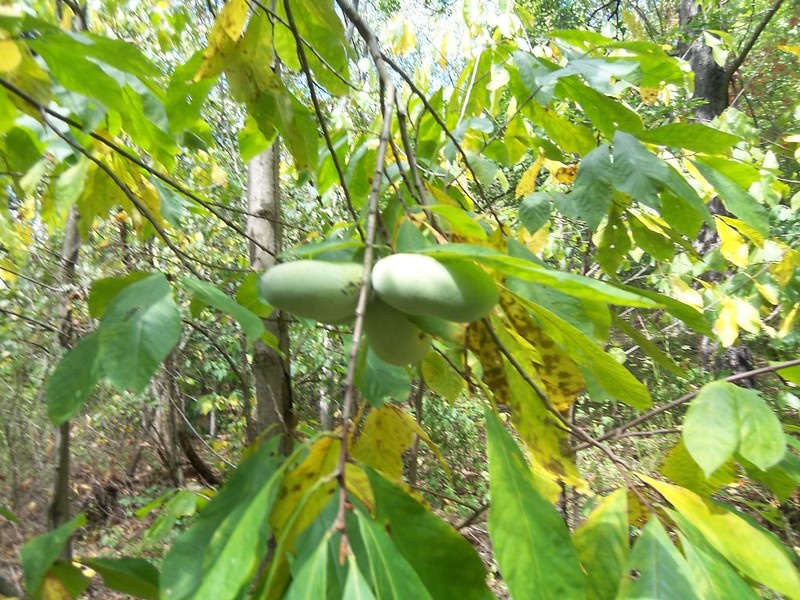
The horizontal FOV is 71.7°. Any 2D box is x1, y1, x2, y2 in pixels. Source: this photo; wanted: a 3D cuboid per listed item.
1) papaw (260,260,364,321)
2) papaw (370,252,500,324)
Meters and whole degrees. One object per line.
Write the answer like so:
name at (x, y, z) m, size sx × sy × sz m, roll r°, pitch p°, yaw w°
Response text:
papaw at (-0.185, -0.021, 1.297) m, size 0.236 × 0.132 × 0.116 m, roll 4°, pitch -29°, yaw -2°
papaw at (0.074, -0.043, 1.293) m, size 0.145 × 0.156 × 0.293 m, roll 3°, pitch -4°, yaw -34°
